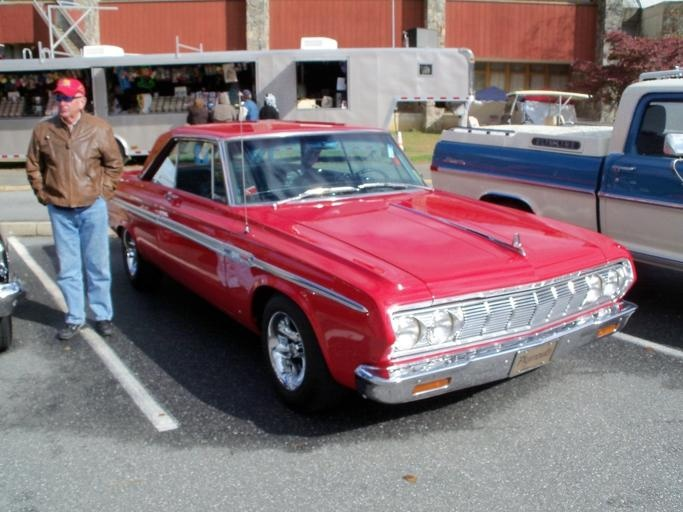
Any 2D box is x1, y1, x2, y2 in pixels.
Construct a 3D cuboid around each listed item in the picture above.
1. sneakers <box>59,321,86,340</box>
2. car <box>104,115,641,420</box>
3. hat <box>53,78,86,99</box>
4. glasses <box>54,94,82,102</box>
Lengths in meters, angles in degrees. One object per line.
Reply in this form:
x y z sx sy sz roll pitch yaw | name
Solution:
-2.701 0.727 5.268 0.118 0.132 0.304 5 7 7 | sneakers
-0.427 0.060 5.079 2.389 1.602 4.891 -14 24 -37 | car
-2.518 -1.539 4.919 0.218 0.158 0.314 3 9 4 | hat
-2.530 -1.456 4.845 0.226 0.073 0.151 -4 22 -9 | glasses
